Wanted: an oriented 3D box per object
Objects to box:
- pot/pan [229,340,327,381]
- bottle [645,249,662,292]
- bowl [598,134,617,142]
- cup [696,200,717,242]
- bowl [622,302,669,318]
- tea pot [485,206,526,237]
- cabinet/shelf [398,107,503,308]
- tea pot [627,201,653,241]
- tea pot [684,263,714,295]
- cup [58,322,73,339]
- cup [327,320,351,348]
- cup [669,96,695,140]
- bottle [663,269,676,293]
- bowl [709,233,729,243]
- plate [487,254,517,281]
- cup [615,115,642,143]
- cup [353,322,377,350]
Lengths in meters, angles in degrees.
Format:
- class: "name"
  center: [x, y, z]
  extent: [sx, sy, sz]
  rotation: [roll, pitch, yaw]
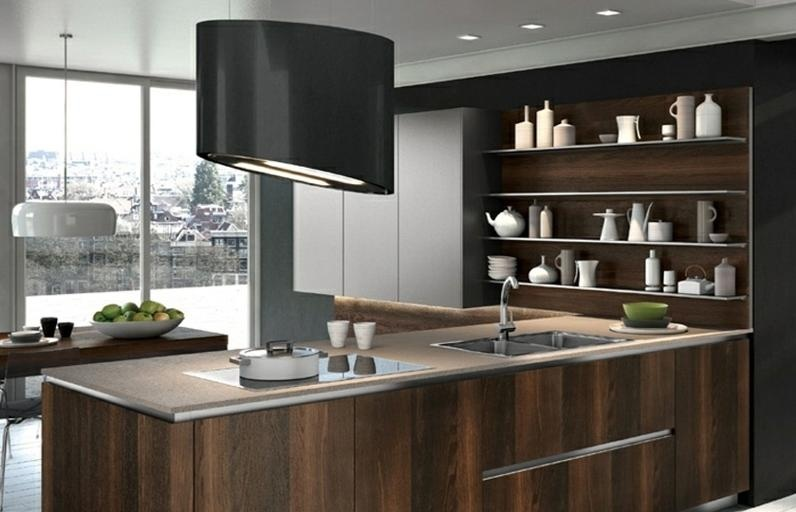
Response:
- class: "pot/pan"
  center: [-0.593, 0.513, 3.441]
  extent: [0.322, 0.087, 0.238]
  rotation: [1, -2, -35]
- class: "bottle"
  center: [1.964, 0.106, 5.278]
  extent: [0.126, 0.308, 0.152]
  rotation: [-1, 4, 17]
- class: "bowl"
  center: [1.652, -0.923, 5.395]
  extent: [0.131, 0.077, 0.117]
  rotation: [-1, 3, 12]
- class: "cup"
  center: [2.256, -0.248, 5.001]
  extent: [0.123, 0.301, 0.126]
  rotation: [-2, 4, 0]
- class: "bowl"
  center: [1.726, 0.365, 4.824]
  extent: [0.199, 0.057, 0.183]
  rotation: [-1, -2, 0]
- class: "tea pot"
  center: [0.894, -0.288, 5.993]
  extent: [0.313, 0.223, 0.395]
  rotation: [-4, 7, -41]
- class: "cabinet/shelf"
  center: [0.415, -0.409, 6.559]
  extent: [1.240, 1.829, 0.792]
  rotation: [2, 8, -28]
- class: "tea pot"
  center: [1.865, -0.263, 5.285]
  extent: [0.156, 0.306, 0.203]
  rotation: [0, 4, 31]
- class: "tea pot"
  center: [2.214, 0.176, 5.066]
  extent: [0.214, 0.212, 0.199]
  rotation: [-2, 3, 0]
- class: "cup"
  center: [-2.615, 0.597, 5.385]
  extent: [0.158, 0.123, 0.139]
  rotation: [1, -6, -14]
- class: "cup"
  center: [-0.367, 0.484, 4.265]
  extent: [0.204, 0.162, 0.173]
  rotation: [1, 0, 2]
- class: "cup"
  center: [2.114, -1.014, 5.027]
  extent: [0.127, 0.329, 0.168]
  rotation: [0, 4, 22]
- class: "bottle"
  center: [2.055, 0.192, 5.187]
  extent: [0.095, 0.163, 0.147]
  rotation: [0, 4, 21]
- class: "bowl"
  center: [2.334, -0.129, 4.954]
  extent: [0.151, 0.068, 0.091]
  rotation: [-1, 3, -2]
- class: "plate"
  center: [0.875, 0.113, 6.052]
  extent: [0.275, 0.153, 0.246]
  rotation: [1, 2, -12]
- class: "cup"
  center: [1.761, -0.964, 5.254]
  extent: [0.151, 0.221, 0.146]
  rotation: [-2, 4, 0]
- class: "cup"
  center: [-0.219, 0.491, 4.192]
  extent: [0.181, 0.154, 0.184]
  rotation: [0, -2, 0]
